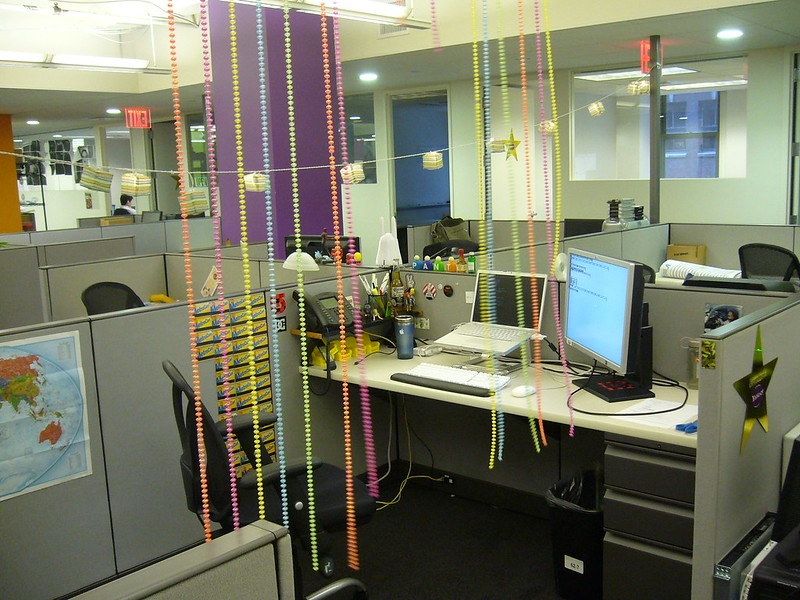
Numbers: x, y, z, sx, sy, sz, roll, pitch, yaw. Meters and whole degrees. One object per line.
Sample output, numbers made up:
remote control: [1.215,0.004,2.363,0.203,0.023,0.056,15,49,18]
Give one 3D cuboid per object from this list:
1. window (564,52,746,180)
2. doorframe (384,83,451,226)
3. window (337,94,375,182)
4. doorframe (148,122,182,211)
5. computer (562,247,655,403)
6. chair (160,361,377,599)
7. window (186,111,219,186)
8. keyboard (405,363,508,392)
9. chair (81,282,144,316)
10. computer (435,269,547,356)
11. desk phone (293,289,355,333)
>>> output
window: [3.110,-1.970,8.040,2.640,1.635,0.027,-8,11,-16]
doorframe: [0.299,-2.097,9.980,0.831,1.895,0.627,-2,12,3]
window: [-0.808,-2.526,10.466,1.012,1.449,0.039,7,17,30]
doorframe: [-4.623,-2.570,12.934,0.510,1.787,1.868,-7,13,-19]
computer: [0.989,0.152,3.188,0.303,0.650,0.638,-4,9,-14]
chair: [-0.632,0.680,3.404,1.014,1.407,0.978,-8,14,-19]
window: [-3.297,-2.468,10.800,0.346,1.383,4.987,-7,13,-17]
keyboard: [0.288,0.396,3.447,0.531,0.069,0.244,5,15,31]
chair: [-2.055,-0.004,4.674,0.200,0.277,0.201,-15,13,-42]
computer: [0.489,0.057,3.637,0.584,0.310,0.602,-14,15,-21]
desk phone: [-0.435,0.041,3.836,0.334,0.163,0.421,17,14,21]
